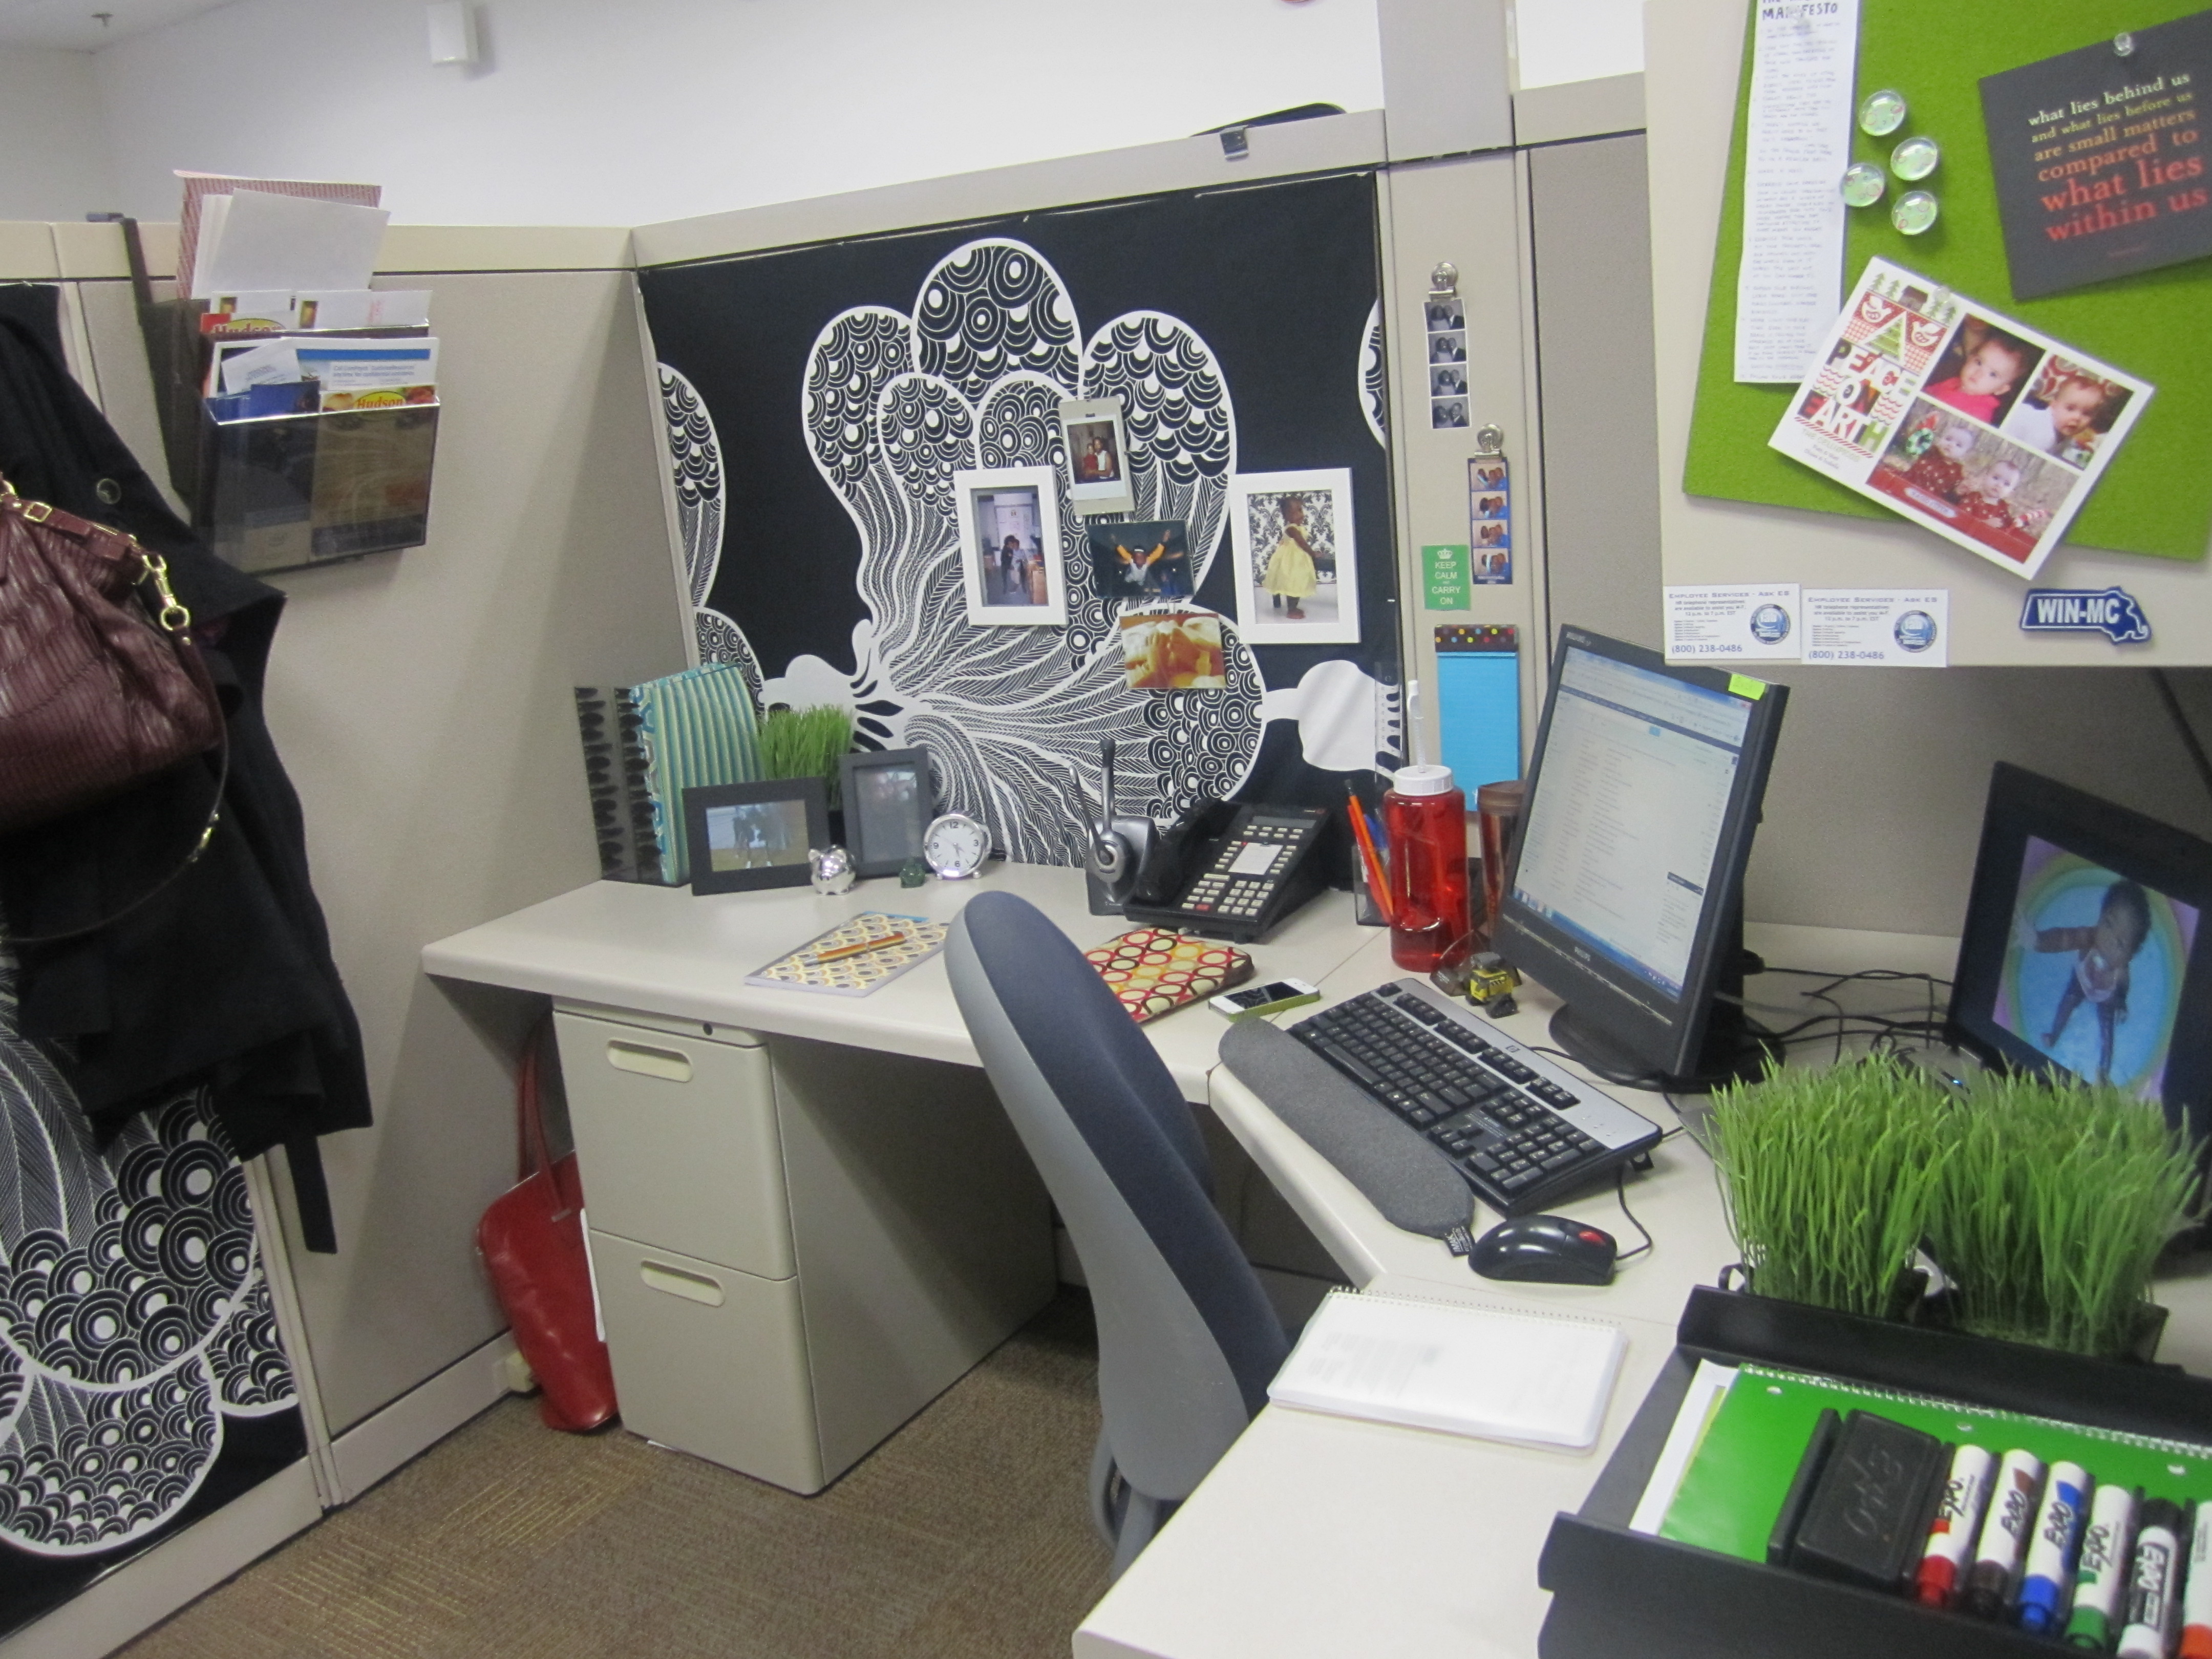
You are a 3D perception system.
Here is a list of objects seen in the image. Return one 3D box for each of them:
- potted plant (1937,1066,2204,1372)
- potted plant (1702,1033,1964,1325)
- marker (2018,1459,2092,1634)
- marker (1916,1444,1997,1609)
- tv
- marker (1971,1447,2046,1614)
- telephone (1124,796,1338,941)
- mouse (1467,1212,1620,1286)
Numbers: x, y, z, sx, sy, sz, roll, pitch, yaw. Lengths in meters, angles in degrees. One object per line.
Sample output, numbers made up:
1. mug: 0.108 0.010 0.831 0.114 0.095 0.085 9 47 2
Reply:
1. potted plant: 0.754 0.278 1.285 0.181 0.239 0.214 3 10 10
2. potted plant: 0.609 0.243 1.307 0.170 0.246 0.219 2 10 24
3. marker: 0.643 0.486 1.051 0.036 0.039 0.154 9 26 20
4. marker: 0.588 0.479 1.070 0.035 0.040 0.171 -3 21 31
5. tv: 0.615 0.050 1.791 0.156 0.431 0.418 -7 19 -11
6. marker: 0.620 0.479 1.059 0.039 0.037 0.144 -2 21 29
7. telephone: 0.193 0.059 2.339 0.265 0.122 0.312 14 27 42
8. mouse: 0.417 0.389 1.456 0.108 0.042 0.064 -3 14 14
